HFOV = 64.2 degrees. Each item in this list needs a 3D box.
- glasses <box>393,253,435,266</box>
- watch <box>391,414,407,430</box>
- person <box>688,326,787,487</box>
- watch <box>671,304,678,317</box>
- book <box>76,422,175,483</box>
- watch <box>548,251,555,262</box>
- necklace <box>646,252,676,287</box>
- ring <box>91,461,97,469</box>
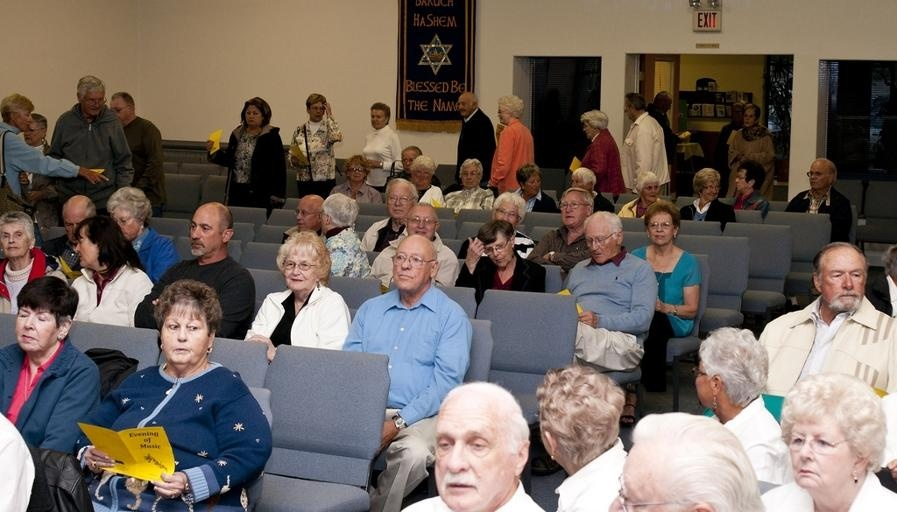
[{"bbox_3d":[-0.223,0.018,4.695,0.265,0.072,0.122,-1,9,-8],"label":"glasses"},{"bbox_3d":[-0.309,1.021,4.364,0.064,0.082,0.078,38,56,20],"label":"watch"},{"bbox_3d":[1.552,0.792,3.892,0.503,1.065,1.058,-1,2,26],"label":"person"},{"bbox_3d":[1.903,0.463,6.025,0.025,0.078,0.076,4,4,-11],"label":"watch"},{"bbox_3d":[-1.530,1.016,3.412,0.310,0.158,0.370,4,-27,8],"label":"book"},{"bbox_3d":[0.959,0.003,6.659,0.053,0.085,0.026,6,-4,40],"label":"watch"},{"bbox_3d":[1.856,0.107,6.238,0.242,0.266,0.071,0,-21,33],"label":"necklace"},{"bbox_3d":[-1.840,1.084,3.678,0.038,0.044,0.011,2,13,6],"label":"ring"}]
